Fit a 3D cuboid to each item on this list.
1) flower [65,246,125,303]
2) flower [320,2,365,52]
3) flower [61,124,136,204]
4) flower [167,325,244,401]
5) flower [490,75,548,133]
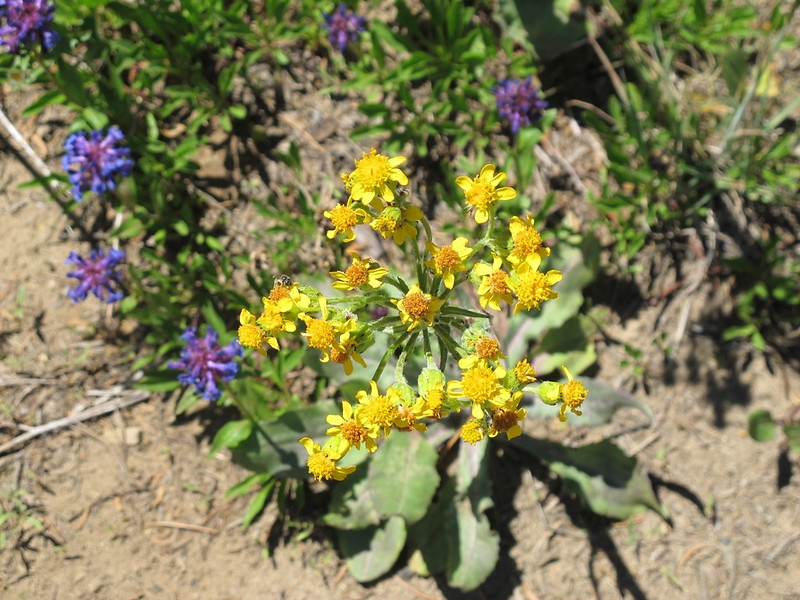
[{"bbox_3d":[-2.071,-0.191,5.576,0.382,0.413,0.166,-30,14,-18],"label":"flower"},{"bbox_3d":[-0.396,-1.889,5.662,0.264,0.321,0.132,3,-1,-7],"label":"flower"},{"bbox_3d":[-1.955,-0.909,5.443,0.466,0.460,0.380,-47,20,-3],"label":"flower"},{"bbox_3d":[-1.295,0.427,5.468,0.426,0.235,0.530,-27,81,-6],"label":"flower"},{"bbox_3d":[0.812,-1.403,5.812,0.356,0.411,0.280,-22,4,9],"label":"flower"}]
